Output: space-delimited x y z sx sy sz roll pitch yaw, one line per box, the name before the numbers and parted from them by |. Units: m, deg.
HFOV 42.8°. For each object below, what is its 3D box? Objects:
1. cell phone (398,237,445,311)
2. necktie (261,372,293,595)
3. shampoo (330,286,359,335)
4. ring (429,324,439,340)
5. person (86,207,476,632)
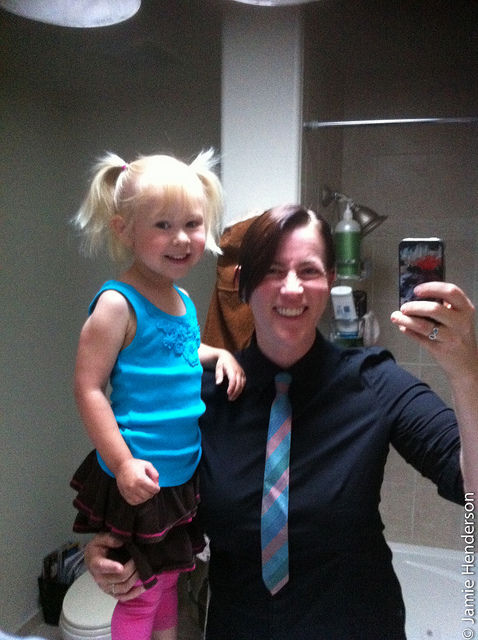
cell phone | 0.222 -0.061 0.746 0.053 0.076 0.019 -2 13 12
necktie | 0.058 0.252 0.954 0.057 0.352 0.030 5 -6 -34
shampoo | 0.248 -0.023 1.406 0.059 0.114 0.054 6 30 33
ring | 0.236 0.014 0.739 0.006 0.015 0.013 21 16 28
person | 0.067 0.180 0.984 0.582 0.712 0.326 0 13 20
